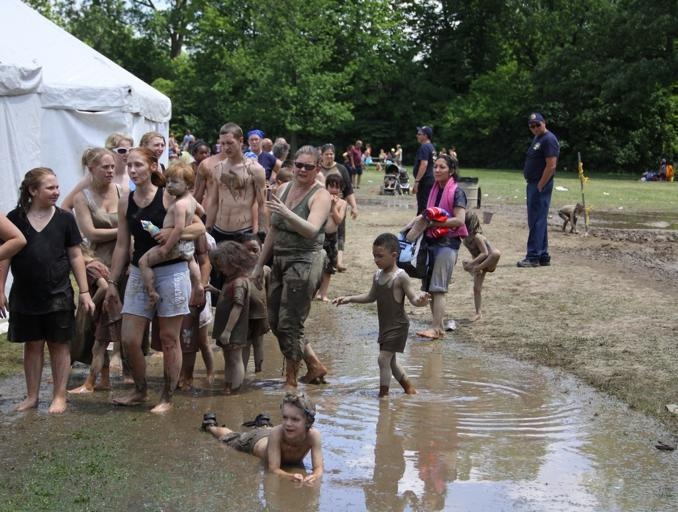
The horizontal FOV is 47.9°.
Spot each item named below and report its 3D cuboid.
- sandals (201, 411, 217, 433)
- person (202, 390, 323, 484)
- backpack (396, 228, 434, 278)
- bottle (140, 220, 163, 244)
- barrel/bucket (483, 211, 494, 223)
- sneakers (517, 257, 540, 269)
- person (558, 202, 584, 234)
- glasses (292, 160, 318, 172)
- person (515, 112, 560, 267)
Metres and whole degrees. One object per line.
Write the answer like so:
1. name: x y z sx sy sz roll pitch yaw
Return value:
1. sandals: -1.121 1.422 6.504 0.144 0.129 0.136 3 -5 -19
2. person: -0.560 1.374 6.117 0.544 0.416 0.878 -2 8 -37
3. backpack: 0.885 -0.040 8.969 0.343 0.609 0.475 11 1 -44
4. bottle: -1.631 -0.233 6.661 0.281 0.104 0.093 34 -18 3
5. barrel/bucket: 3.517 -0.951 18.114 0.286 0.268 0.292 7 -4 1
6. sneakers: 3.228 0.113 12.994 0.376 0.189 0.173 2 3 -2
7. person: 5.334 -0.887 17.410 0.514 0.645 1.100 1 5 17
8. glasses: -0.312 -0.870 7.333 0.240 0.107 0.150 -1 5 -9
9. person: 3.372 -1.135 12.870 0.623 2.639 1.315 1 5 14
